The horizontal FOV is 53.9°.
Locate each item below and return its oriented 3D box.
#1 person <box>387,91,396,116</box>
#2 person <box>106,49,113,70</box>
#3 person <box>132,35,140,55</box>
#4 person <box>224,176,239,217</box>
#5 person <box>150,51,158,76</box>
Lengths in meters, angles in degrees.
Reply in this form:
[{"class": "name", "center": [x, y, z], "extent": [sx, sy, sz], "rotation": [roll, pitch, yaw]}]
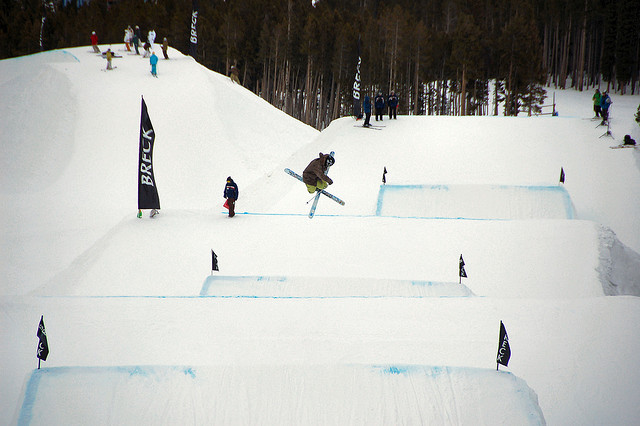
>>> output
[{"class": "person", "center": [3.259, -4.980, 28.495], "extent": [0.313, 1.059, 1.202], "rotation": [2, 10, 7]}, {"class": "person", "center": [-10.451, -7.723, 31.392], "extent": [0.237, 0.892, 0.847], "rotation": [-2, 10, -17]}, {"class": "person", "center": [-9.832, -9.123, 33.660], "extent": [0.281, 0.944, 1.013], "rotation": [9, 2, -4]}, {"class": "person", "center": [-3.167, -0.655, 22.498], "extent": [0.452, 1.406, 0.723], "rotation": [2, 9, 7]}, {"class": "person", "center": [-8.430, -7.678, 31.988], "extent": [0.335, 1.212, 2.309], "rotation": [-1, 11, -15]}]
